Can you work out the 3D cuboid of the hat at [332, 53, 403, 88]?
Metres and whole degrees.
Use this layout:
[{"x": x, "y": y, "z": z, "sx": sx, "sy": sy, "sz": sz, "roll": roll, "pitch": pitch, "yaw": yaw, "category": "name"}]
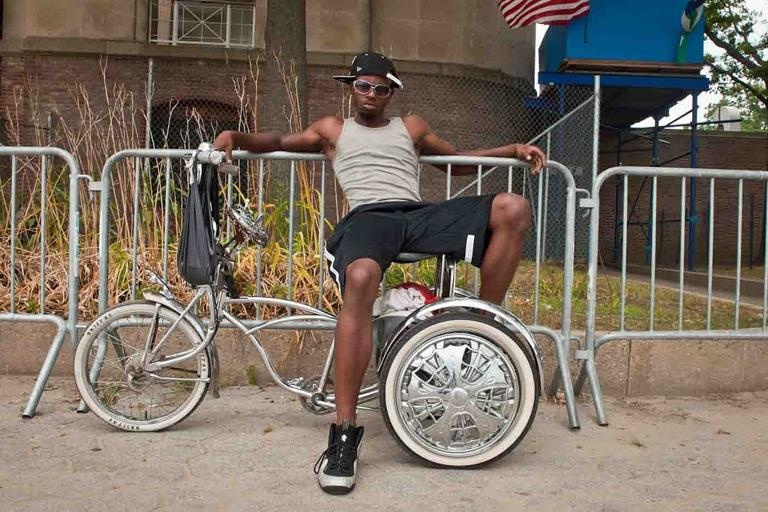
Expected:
[{"x": -0.153, "y": -1.710, "z": 7.327, "sx": 0.580, "sy": 0.232, "sz": 0.417, "roll": 5, "pitch": 8, "yaw": 32, "category": "hat"}]
